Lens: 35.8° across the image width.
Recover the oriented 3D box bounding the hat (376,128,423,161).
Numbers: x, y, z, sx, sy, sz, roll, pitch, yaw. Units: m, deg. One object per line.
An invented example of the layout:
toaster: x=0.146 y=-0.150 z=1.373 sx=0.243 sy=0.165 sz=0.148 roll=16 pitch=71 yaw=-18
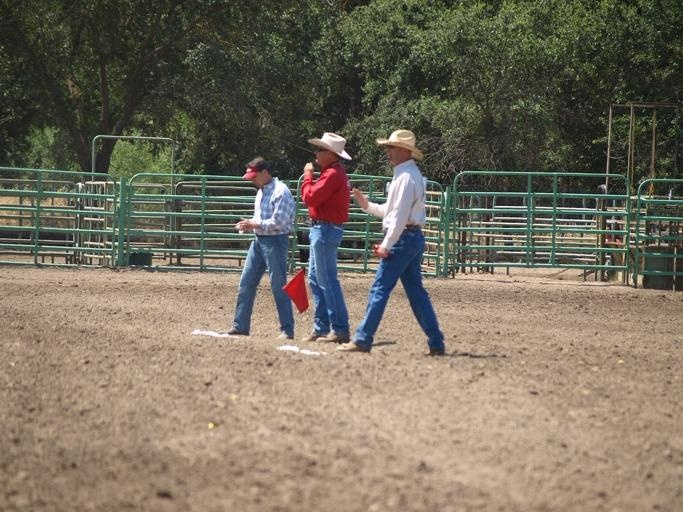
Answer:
hat: x=0.884 y=-1.705 z=15.728 sx=0.624 sy=0.299 sz=0.586 roll=14 pitch=1 yaw=-8

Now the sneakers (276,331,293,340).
sneakers: x=-0.880 y=1.215 z=16.519 sx=0.297 sy=0.124 sz=0.186 roll=6 pitch=3 yaw=42

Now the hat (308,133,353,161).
hat: x=-0.163 y=-1.714 z=16.112 sx=0.553 sy=0.241 sz=0.502 roll=29 pitch=0 yaw=-15

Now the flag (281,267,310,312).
flag: x=-0.744 y=0.555 z=17.199 sx=0.289 sy=0.571 sz=0.538 roll=1 pitch=40 yaw=46

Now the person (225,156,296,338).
person: x=-1.216 y=-0.149 z=16.740 sx=1.024 sy=2.825 sz=0.864 roll=2 pitch=2 yaw=-7

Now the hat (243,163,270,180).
hat: x=-1.342 y=-1.342 z=16.611 sx=0.312 sy=0.224 sz=0.217 roll=-7 pitch=1 yaw=-24
